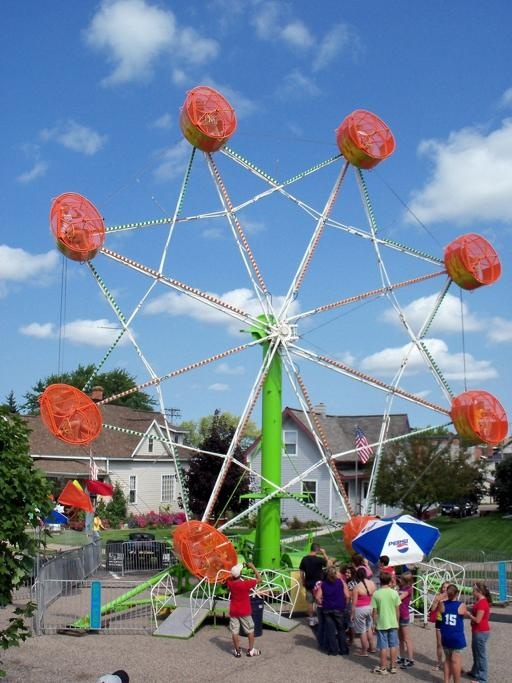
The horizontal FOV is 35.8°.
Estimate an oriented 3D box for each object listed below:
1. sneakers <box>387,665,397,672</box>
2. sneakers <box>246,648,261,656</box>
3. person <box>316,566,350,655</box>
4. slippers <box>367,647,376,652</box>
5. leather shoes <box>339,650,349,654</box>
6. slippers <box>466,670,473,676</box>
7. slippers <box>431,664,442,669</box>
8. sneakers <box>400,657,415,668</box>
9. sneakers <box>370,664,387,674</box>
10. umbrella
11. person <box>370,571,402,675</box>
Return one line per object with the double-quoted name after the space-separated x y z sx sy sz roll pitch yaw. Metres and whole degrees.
2.058 4.858 11.805 0.082 0.068 0.182 2 -7 4 "sneakers"
-0.014 4.924 12.568 0.122 0.087 0.221 0 0 36 "sneakers"
1.238 4.338 12.870 0.547 1.414 0.623 0 -10 6 "person"
1.913 5.078 13.036 0.081 0.051 0.147 2 -5 -5 "slippers"
1.430 5.011 12.821 0.156 0.063 0.127 -2 -6 -8 "leather shoes"
3.153 4.871 11.671 0.082 0.043 0.137 3 -10 16 "slippers"
2.764 4.933 12.051 0.092 0.058 0.161 5 -6 6 "slippers"
2.340 4.946 12.193 0.087 0.129 0.216 8 -10 -12 "sneakers"
1.825 4.869 11.773 0.112 0.104 0.266 3 -4 -29 "sneakers"
2.487 3.547 13.993 1.388 0.859 0.963 5 -10 -26 "umbrella"
2.002 4.235 12.080 0.429 1.430 0.896 0 -9 8 "person"
